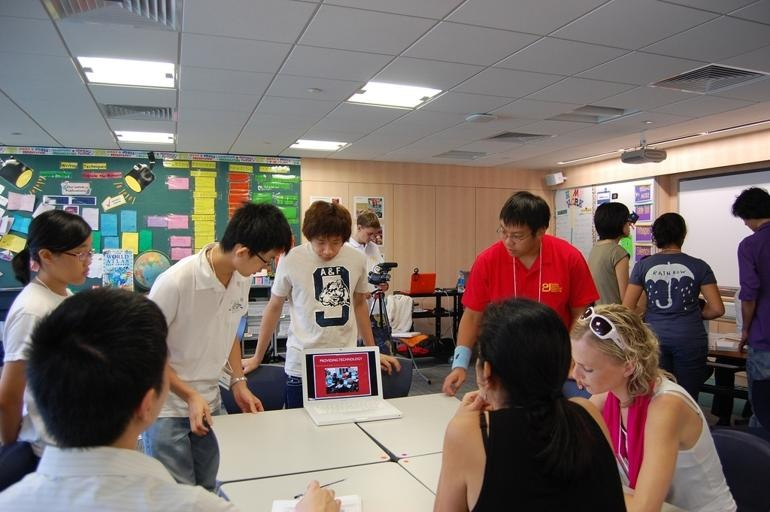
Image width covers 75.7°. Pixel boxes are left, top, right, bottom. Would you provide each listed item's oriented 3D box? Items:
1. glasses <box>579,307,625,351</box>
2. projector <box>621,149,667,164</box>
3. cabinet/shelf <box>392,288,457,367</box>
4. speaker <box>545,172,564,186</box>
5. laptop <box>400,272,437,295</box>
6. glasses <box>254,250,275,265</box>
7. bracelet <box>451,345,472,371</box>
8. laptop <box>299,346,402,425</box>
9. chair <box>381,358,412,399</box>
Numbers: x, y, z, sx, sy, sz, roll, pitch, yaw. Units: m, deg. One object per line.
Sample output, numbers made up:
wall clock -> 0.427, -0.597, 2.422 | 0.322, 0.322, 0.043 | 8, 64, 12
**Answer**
glasses -> 0.904, 0.293, 2.054 | 0.151, 0.048, 0.141 | 39, -4, -27
projector -> 3.105, -1.205, 6.044 | 0.328, 0.125, 0.306 | 0, 0, -5
cabinet/shelf -> 0.823, 1.104, 7.760 | 1.215, 1.148, 0.866 | -2, 6, -26
speaker -> 2.909, -1.316, 8.484 | 0.219, 0.161, 0.217 | -2, 1, -18
laptop -> 0.537, 0.404, 7.321 | 0.387, 0.322, 0.280 | 0, -8, -8
glasses -> -0.606, 0.013, 2.499 | 0.025, 0.077, 0.074 | -13, 19, -37
bracelet -> 0.422, 0.581, 2.811 | 0.113, 0.123, 0.117 | 10, -25, -2
laptop -> -0.224, 0.735, 2.830 | 0.500, 0.345, 0.391 | -1, -1, -19
chair -> 0.077, 0.792, 3.258 | 0.228, 0.285, 0.227 | 0, -1, -18
